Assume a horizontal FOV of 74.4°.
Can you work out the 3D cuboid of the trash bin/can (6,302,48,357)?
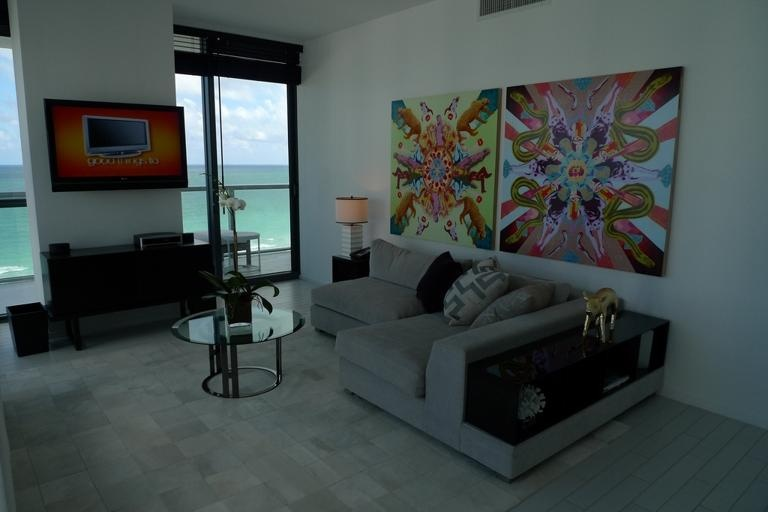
[{"bbox_3d":[-3.671,0.752,5.236,0.314,0.443,0.392,-10,16,-37],"label":"trash bin/can"}]

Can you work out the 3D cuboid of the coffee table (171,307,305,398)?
[{"bbox_3d":[-1.378,0.759,4.697,0.894,0.424,0.885,-2,13,-8],"label":"coffee table"}]

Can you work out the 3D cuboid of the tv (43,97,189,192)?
[{"bbox_3d":[-3.013,-1.239,5.545,1.108,0.763,0.105,-9,16,-36],"label":"tv"}]
